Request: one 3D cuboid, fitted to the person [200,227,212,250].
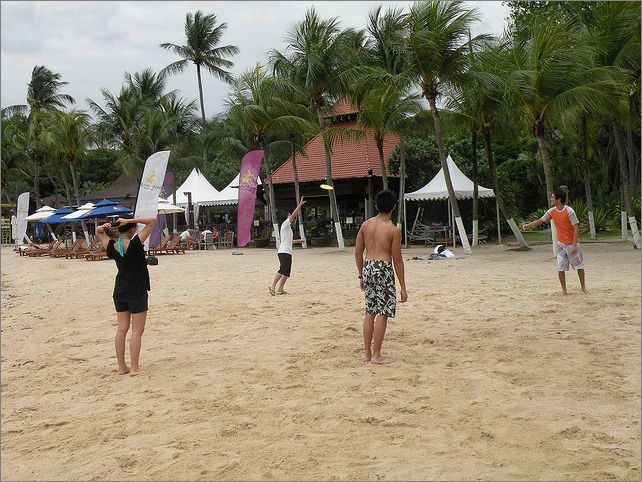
[{"bbox_3d":[-5.210,-0.064,28.922,0.683,1.215,0.831,-1,6,-18],"label":"person"}]

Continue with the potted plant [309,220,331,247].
[{"bbox_3d":[-0.009,-0.319,28.395,1.161,1.269,1.059,6,9,41],"label":"potted plant"}]

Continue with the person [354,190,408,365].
[{"bbox_3d":[0.786,0.463,8.408,0.644,2.248,0.617,-2,12,4],"label":"person"}]

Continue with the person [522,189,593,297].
[{"bbox_3d":[4.303,0.006,11.374,0.920,1.900,1.384,2,13,22],"label":"person"}]

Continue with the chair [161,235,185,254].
[{"bbox_3d":[-6.042,0.131,25.754,0.629,0.751,1.193,-1,-9,3],"label":"chair"}]

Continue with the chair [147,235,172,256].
[{"bbox_3d":[-6.186,0.190,24.196,1.144,0.777,0.714,3,-3,-42],"label":"chair"}]

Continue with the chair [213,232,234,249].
[{"bbox_3d":[-4.586,-0.056,30.079,0.652,0.927,0.927,-1,8,-28],"label":"chair"}]

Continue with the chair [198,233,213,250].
[{"bbox_3d":[-5.309,-0.014,29.118,0.650,0.679,1.564,-6,12,-16],"label":"chair"}]

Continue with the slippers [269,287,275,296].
[{"bbox_3d":[-0.981,0.995,12.573,0.058,0.171,0.090,-38,31,-17],"label":"slippers"}]

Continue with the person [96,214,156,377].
[{"bbox_3d":[-2.549,0.714,8.555,0.671,2.055,0.644,-8,13,-25],"label":"person"}]
